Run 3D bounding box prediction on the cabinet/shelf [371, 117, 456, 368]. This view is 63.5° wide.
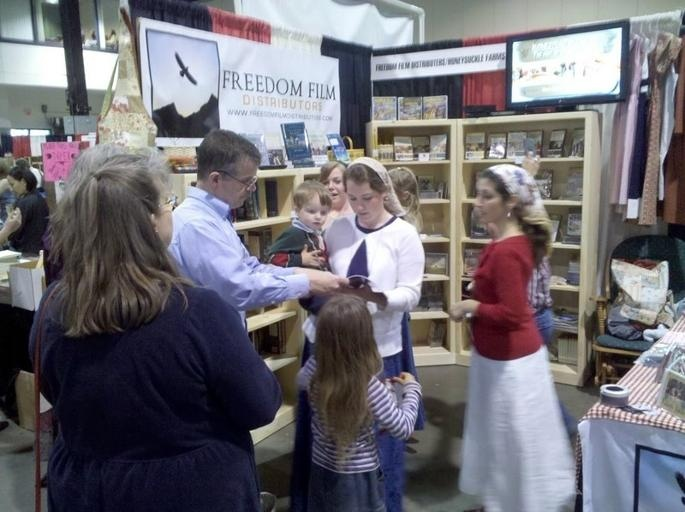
[{"bbox_3d":[0.755,-0.245,5.590,0.667,1.963,0.356,-2,-3,1],"label":"cabinet/shelf"}]

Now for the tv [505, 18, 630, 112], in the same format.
[{"bbox_3d":[1.994,-1.643,4.877,0.892,0.643,0.095,5,10,32],"label":"tv"}]

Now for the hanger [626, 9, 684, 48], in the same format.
[{"bbox_3d":[2.729,-1.970,4.832,0.409,0.305,0.286,6,12,28],"label":"hanger"}]

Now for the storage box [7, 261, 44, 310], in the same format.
[{"bbox_3d":[-2.317,0.219,4.026,0.159,0.261,0.309,6,8,12],"label":"storage box"}]
